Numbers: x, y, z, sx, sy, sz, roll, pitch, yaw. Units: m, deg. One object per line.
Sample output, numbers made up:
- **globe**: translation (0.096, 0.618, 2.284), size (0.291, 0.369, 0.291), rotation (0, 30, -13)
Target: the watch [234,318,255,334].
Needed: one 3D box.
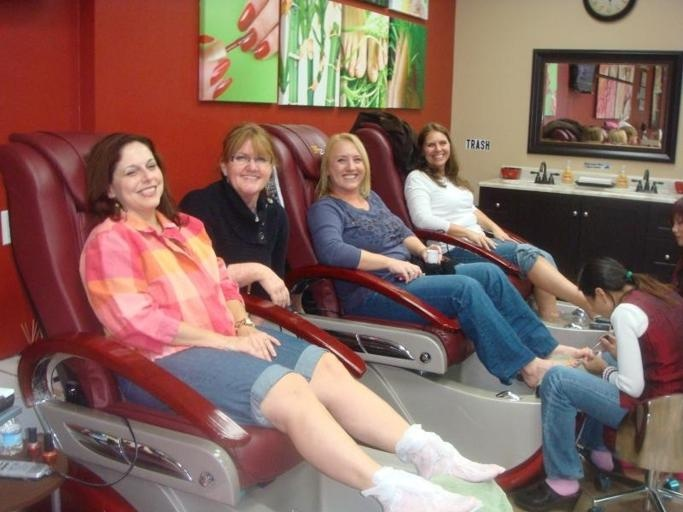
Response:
- **watch**: translation (-0.371, 0.272, 2.004), size (0.066, 0.034, 0.051), rotation (1, -3, 36)

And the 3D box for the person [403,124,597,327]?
- **person**: translation (1.073, -0.202, 3.415), size (1.506, 1.140, 0.683), rotation (24, 29, 36)

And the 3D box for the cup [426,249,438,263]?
- **cup**: translation (0.523, -0.001, 2.952), size (0.067, 0.074, 0.069), rotation (0, 7, 0)

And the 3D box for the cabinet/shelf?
- **cabinet/shelf**: translation (2.041, -0.224, 4.249), size (1.032, 0.660, 0.390), rotation (2, 3, 27)

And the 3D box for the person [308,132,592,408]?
- **person**: translation (0.493, -0.064, 2.703), size (1.518, 1.386, 0.828), rotation (2, 13, 42)
